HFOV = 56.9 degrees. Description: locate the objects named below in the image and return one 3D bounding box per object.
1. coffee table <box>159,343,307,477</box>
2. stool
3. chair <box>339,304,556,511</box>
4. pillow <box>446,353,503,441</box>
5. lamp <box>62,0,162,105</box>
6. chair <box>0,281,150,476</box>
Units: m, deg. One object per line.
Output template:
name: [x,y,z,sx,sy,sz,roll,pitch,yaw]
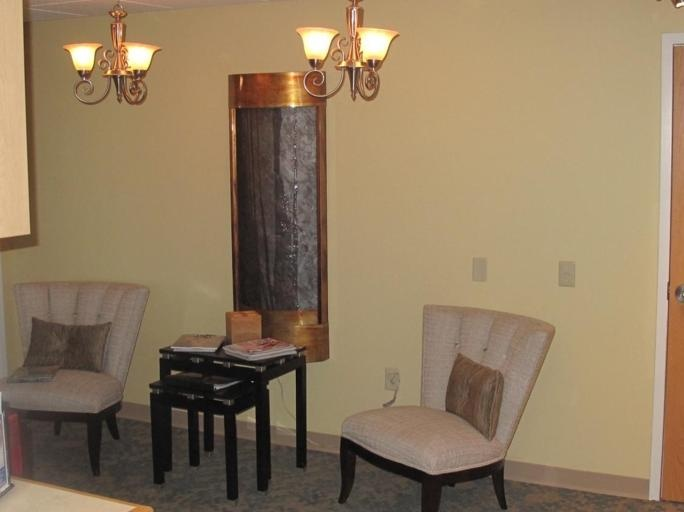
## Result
coffee table: [-0.589,0.809,3.989,0.952,0.945,0.689,4,8,34]
stool: [-0.789,0.987,3.877,0.633,0.678,0.686,1,3,14]
chair: [0.657,0.820,3.620,1.118,1.252,1.090,3,0,-36]
pillow: [0.722,0.781,3.403,0.134,0.315,0.386,-2,7,-22]
lamp: [-1.452,-1.320,4.082,0.571,0.681,1.417,-5,13,-19]
chair: [-1.701,0.765,4.325,1.156,1.334,1.043,0,1,4]
